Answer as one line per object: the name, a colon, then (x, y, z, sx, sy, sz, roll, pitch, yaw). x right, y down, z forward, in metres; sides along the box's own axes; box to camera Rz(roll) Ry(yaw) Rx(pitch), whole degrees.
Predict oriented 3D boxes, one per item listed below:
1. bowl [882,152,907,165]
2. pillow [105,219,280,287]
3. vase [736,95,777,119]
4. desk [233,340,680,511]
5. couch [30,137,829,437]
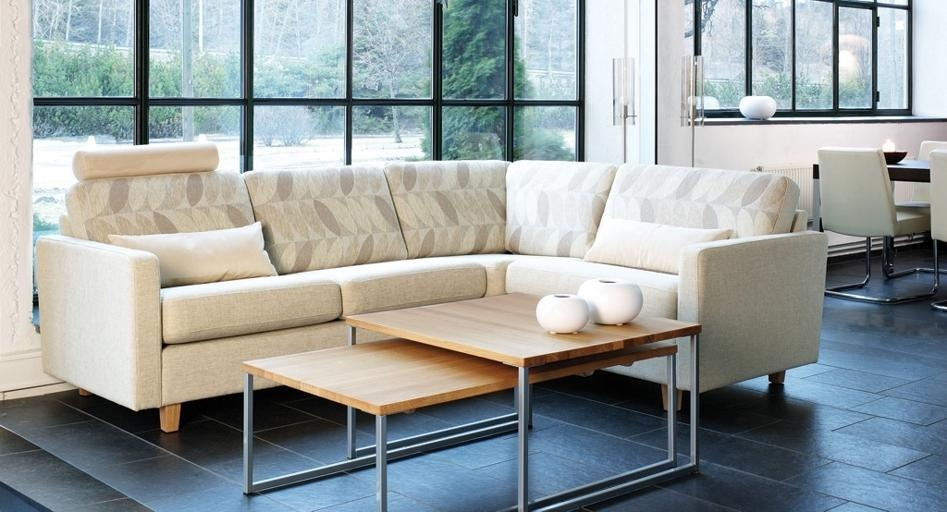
bowl: (3.768, -0.892, 6.886, 0.224, 0.055, 0.205, -1, 1, 0)
pillow: (-1.765, -0.028, 4.860, 0.950, 0.260, 0.269, -7, 38, -39)
vase: (2.783, -1.485, 7.624, 0.348, 0.162, 0.285, -1, 4, -9)
desk: (-0.083, 0.837, 3.875, 2.023, 0.770, 0.850, -8, 12, -23)
couch: (-0.160, 0.001, 4.889, 3.645, 1.123, 2.740, -3, 3, -40)
